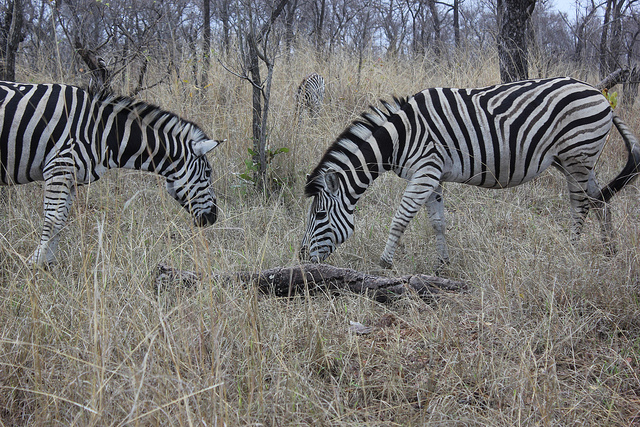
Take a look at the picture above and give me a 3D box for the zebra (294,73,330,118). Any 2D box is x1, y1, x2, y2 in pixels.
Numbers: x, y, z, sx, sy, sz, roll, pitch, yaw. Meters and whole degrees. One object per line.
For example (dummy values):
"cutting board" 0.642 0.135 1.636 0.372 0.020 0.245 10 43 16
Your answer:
"zebra" -0.117 -2.164 10.991 0.230 0.553 0.964 18 16 21
